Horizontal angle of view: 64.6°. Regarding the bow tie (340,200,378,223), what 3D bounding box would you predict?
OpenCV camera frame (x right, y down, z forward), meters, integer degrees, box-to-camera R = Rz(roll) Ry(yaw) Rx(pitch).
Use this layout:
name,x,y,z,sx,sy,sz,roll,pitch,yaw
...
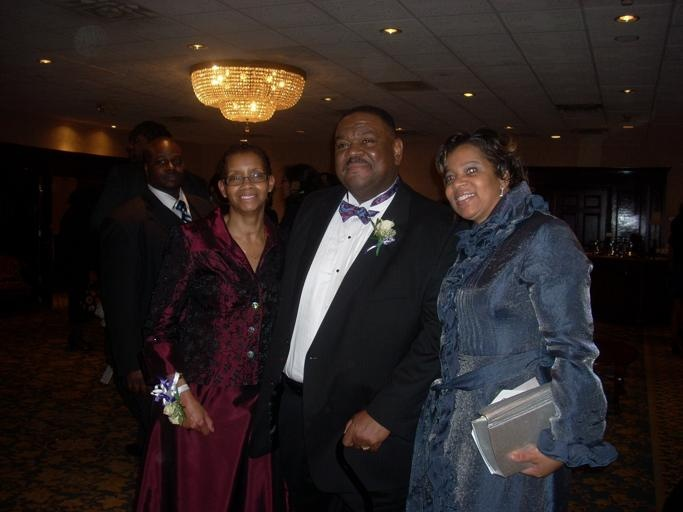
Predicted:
name,x,y,z,sx,sy,sz,roll,pitch,yaw
bow tie,0.067,-0.194,2.359,0.123,0.109,0.050,-7,24,33

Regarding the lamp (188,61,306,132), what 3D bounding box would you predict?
name,x,y,z,sx,sy,sz,roll,pitch,yaw
lamp,-1.234,-2.041,7.344,1.467,0.571,1.458,0,-6,33
